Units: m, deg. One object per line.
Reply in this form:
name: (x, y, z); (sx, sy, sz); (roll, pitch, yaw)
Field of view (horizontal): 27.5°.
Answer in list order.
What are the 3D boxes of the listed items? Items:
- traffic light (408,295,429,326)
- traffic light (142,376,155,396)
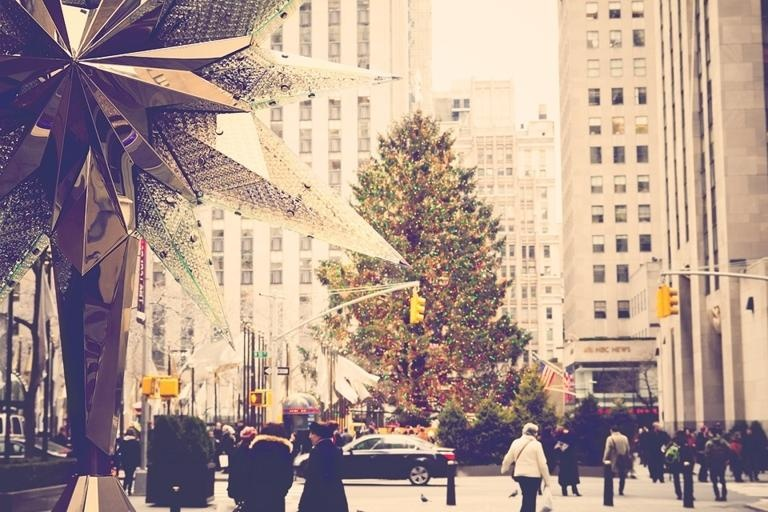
traffic light: (1.596, 2.477, 76.024); (0.620, 1.353, 1.152); (-1, -12, -4)
traffic light: (-11.114, 6.105, 73.626); (0.505, 0.935, 1.232); (-2, -12, 4)
